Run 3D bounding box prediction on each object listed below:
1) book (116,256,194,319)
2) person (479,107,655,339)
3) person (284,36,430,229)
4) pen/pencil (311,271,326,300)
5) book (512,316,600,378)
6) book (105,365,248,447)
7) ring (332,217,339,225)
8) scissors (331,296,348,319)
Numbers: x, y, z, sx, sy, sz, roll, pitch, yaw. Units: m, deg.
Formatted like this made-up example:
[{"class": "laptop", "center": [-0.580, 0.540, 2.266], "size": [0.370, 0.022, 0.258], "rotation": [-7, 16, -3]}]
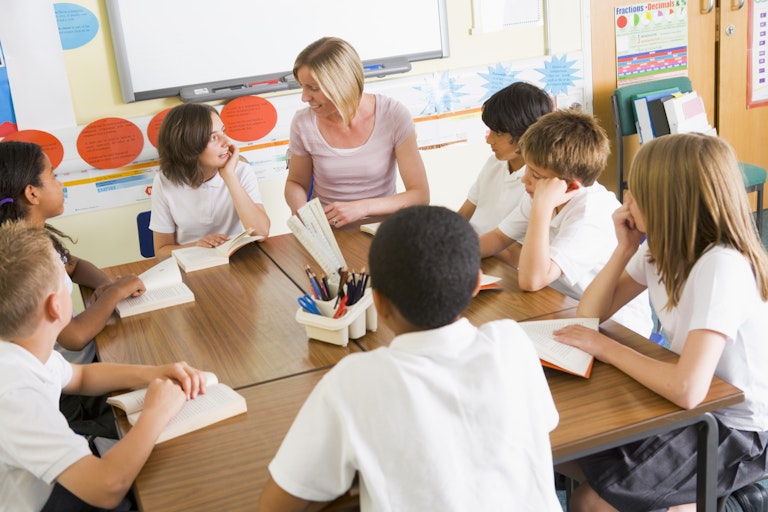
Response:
[{"class": "book", "center": [-0.810, 0.128, 1.854], "size": [0.190, 0.071, 0.189], "rotation": [-19, 38, -27]}, {"class": "person", "center": [0.660, -0.014, 2.037], "size": [0.650, 1.008, 0.508], "rotation": [-5, 24, -7]}, {"class": "person", "center": [-0.152, -0.594, 2.598], "size": [0.711, 0.893, 0.544], "rotation": [0, 30, 0]}, {"class": "pen/pencil", "center": [-0.192, 0.090, 1.554], "size": [0.027, 0.109, 0.027], "rotation": [-11, 9, -14]}, {"class": "book", "center": [0.469, 0.246, 1.409], "size": [0.149, 0.026, 0.169], "rotation": [11, 33, 12]}, {"class": "book", "center": [-0.479, 0.339, 1.287], "size": [0.168, 0.039, 0.187], "rotation": [-12, 17, -31]}, {"class": "ring", "center": [-0.216, -0.154, 2.370], "size": [0.023, 0.033, 0.010], "rotation": [0, 6, -20]}, {"class": "scissors", "center": [-0.127, 0.152, 1.521], "size": [0.024, 0.084, 0.035], "rotation": [19, 9, 29]}]
